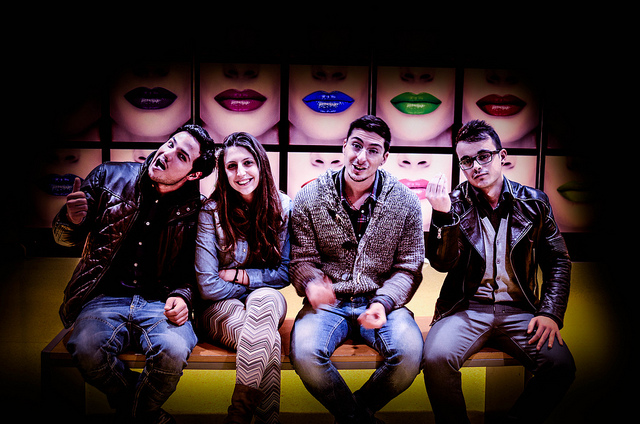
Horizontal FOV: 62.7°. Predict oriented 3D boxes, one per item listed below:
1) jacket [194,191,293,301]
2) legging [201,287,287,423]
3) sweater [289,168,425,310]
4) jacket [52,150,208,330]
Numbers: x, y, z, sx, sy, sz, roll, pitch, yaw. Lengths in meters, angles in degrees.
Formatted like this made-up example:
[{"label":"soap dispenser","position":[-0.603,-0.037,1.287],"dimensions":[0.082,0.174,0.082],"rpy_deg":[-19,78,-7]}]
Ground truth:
[{"label":"jacket","position":[-0.611,0.205,4.275],"dimensions":[0.665,0.841,0.560],"rpy_deg":[4,14,3]},{"label":"legging","position":[-0.536,1.033,3.871],"dimensions":[0.622,0.979,0.383],"rpy_deg":[-4,-9,-1]},{"label":"sweater","position":[0.317,0.242,4.360],"dimensions":[1.182,1.079,0.731],"rpy_deg":[3,14,3]},{"label":"jacket","position":[-1.561,0.287,4.445],"dimensions":[1.159,1.453,0.795],"rpy_deg":[1,20,-16]}]
